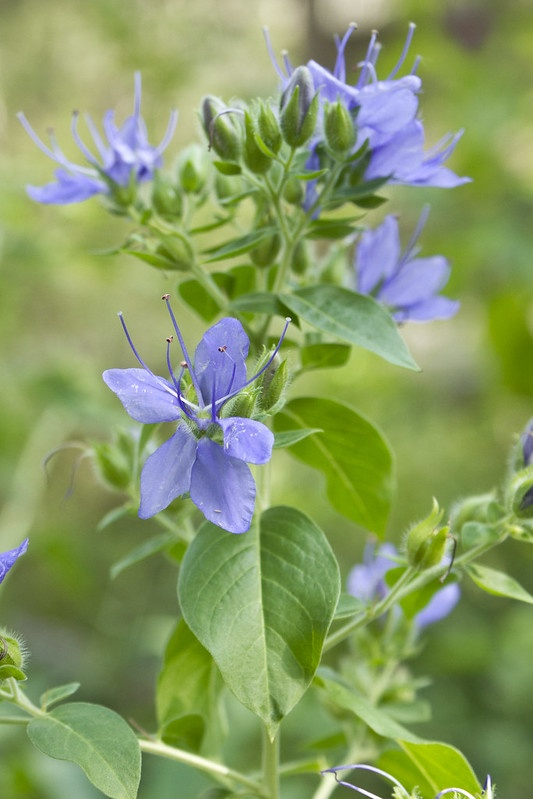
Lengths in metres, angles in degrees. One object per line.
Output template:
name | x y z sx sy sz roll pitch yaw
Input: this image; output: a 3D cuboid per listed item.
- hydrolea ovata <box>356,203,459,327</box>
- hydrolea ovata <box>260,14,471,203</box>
hydrolea ovata | 0.194 -0.182 1.197 0.114 0.140 0.099 -12 30 -17
hydrolea ovata | 0.125 -0.378 1.145 0.244 0.220 0.304 -2 27 1
